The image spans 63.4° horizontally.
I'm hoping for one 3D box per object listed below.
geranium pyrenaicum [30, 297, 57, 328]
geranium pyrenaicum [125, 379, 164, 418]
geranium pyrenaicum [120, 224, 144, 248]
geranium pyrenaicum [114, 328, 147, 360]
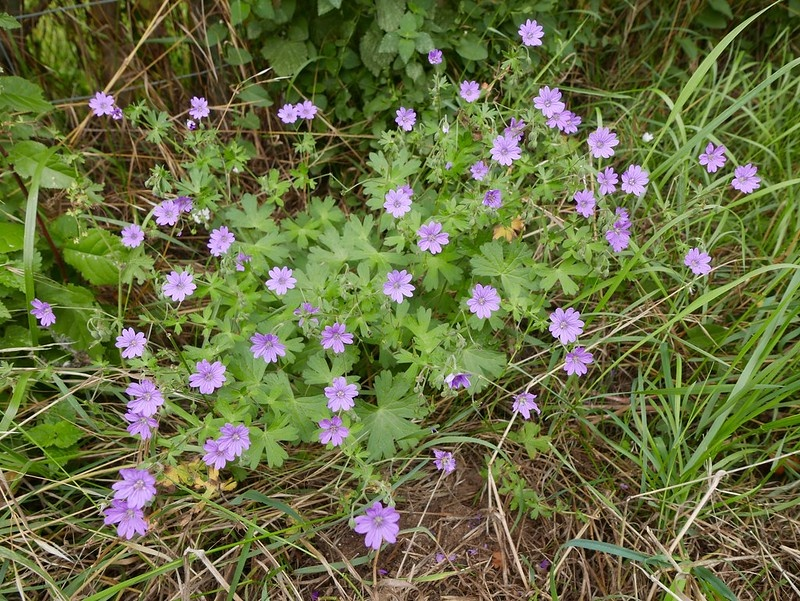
[{"bbox_3d":[-2.228,0.077,4.015,0.155,0.084,0.174,-24,98,-15],"label":"geranium pyrenaicum"},{"bbox_3d":[-1.381,0.521,3.511,0.186,0.080,0.232,10,110,-11],"label":"geranium pyrenaicum"},{"bbox_3d":[-1.719,-0.405,4.186,0.152,0.047,0.177,2,82,27],"label":"geranium pyrenaicum"},{"bbox_3d":[-1.548,0.245,3.711,0.155,0.107,0.166,5,87,1],"label":"geranium pyrenaicum"}]
